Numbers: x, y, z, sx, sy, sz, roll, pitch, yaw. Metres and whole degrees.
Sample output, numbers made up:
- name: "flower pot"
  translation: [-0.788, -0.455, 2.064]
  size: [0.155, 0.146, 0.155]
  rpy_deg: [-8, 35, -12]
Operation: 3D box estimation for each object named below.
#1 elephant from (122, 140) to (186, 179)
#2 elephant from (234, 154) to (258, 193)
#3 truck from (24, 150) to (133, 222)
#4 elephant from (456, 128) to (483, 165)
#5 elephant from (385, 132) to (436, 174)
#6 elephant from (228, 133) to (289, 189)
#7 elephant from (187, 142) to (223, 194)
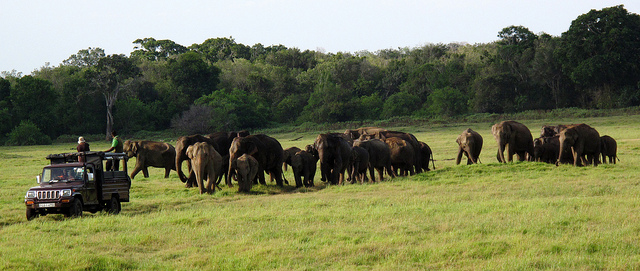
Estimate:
- name: "elephant"
  translation: [-18.423, 2.692, 68.483]
  size: [8.365, 3.777, 2.064]
  rpy_deg: [3, 4, 2]
- name: "elephant"
  translation: [-7.207, 3.852, 63.763]
  size: [1.532, 3.854, 2.351]
  rpy_deg: [-5, -3, 31]
- name: "truck"
  translation: [-22.310, 4.662, 60.786]
  size: [5.992, 5.448, 15.656]
  rpy_deg: [-1, 0, -4]
- name: "elephant"
  translation: [16.649, 1.433, 70.131]
  size: [3.230, 3.432, 6.754]
  rpy_deg: [-7, -8, 14]
- name: "elephant"
  translation: [10.973, 1.780, 69.670]
  size: [7.444, 3.400, 2.653]
  rpy_deg: [5, -3, 1]
- name: "elephant"
  translation: [-6.629, 2.748, 66.052]
  size: [3.357, 5.597, 8.119]
  rpy_deg: [-7, -5, 42]
- name: "elephant"
  translation: [-12.162, 3.491, 65.508]
  size: [3.881, 5.313, 7.554]
  rpy_deg: [0, -3, -5]
